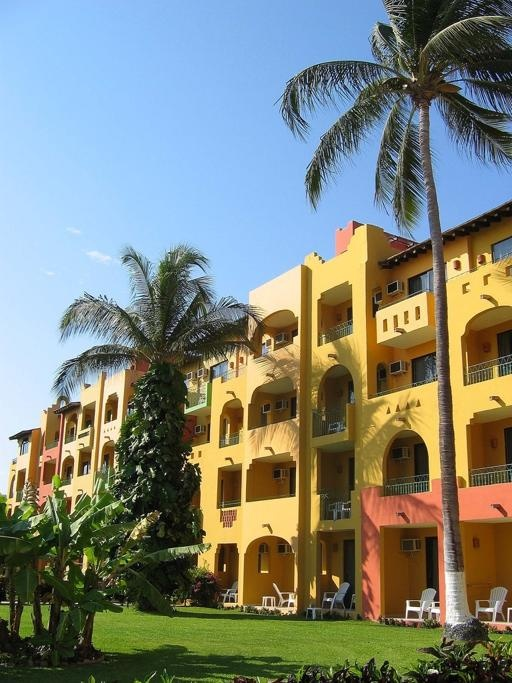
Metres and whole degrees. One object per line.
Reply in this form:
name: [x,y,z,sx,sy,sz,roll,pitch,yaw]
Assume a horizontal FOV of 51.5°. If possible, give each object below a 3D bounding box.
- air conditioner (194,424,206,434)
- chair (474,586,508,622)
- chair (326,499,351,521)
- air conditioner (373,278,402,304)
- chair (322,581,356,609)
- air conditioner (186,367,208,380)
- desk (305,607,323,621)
air conditioner: [-3.615,5.910,34.773,0.487,0.678,0.900,18,-33,-24]
chair: [7.175,7.935,16.104,0.987,0.915,2.449,-6,-23,20]
chair: [3.531,6.954,21.939,0.820,1.015,1.411,7,-14,-20]
air conditioner: [5.534,-2.086,22.213,0.182,0.544,1.099,21,-27,-18]
chair: [3.512,10.609,22.183,1.204,1.591,1.093,24,-37,-30]
air conditioner: [-3.859,2.146,35.660,0.601,0.626,2.200,16,-26,-33]
desk: [2.231,10.342,20.345,0.686,0.377,3.166,-1,-21,6]
